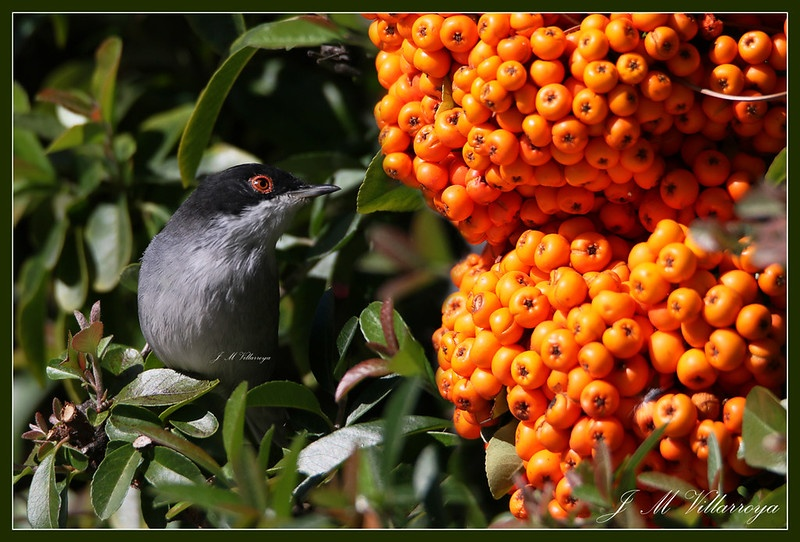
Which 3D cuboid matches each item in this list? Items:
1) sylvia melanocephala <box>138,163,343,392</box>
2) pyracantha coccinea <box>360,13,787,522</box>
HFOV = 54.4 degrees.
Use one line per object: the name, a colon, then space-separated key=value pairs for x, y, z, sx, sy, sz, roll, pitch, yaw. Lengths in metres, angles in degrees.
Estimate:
sylvia melanocephala: x=-0.829 y=0.033 z=3.987 sx=1.075 sy=0.827 sz=0.463 roll=-41 pitch=24 yaw=-20
pyracantha coccinea: x=0.771 y=-0.149 z=3.301 sx=1.436 sy=1.825 sz=0.858 roll=4 pitch=12 yaw=11
